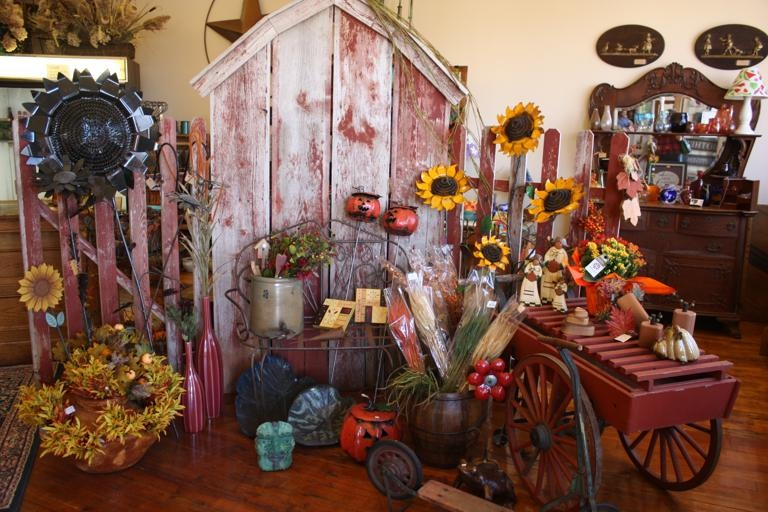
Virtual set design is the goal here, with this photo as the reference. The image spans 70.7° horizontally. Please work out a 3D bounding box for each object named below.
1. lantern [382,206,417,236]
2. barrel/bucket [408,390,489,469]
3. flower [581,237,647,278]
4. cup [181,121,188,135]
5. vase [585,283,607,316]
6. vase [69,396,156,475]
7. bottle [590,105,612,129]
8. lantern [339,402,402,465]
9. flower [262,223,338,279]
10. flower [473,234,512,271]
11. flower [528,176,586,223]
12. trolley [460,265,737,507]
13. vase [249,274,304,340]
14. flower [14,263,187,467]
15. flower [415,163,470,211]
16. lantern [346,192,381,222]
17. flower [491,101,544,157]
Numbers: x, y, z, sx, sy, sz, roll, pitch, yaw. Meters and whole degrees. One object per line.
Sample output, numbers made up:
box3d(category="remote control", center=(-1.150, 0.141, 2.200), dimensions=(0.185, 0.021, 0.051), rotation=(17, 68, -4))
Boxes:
box3d(category="lantern", center=(0.108, -0.213, 3.553), dimensions=(0.192, 0.160, 0.195), rotation=(-1, -5, 34))
box3d(category="barrel/bucket", center=(0.357, 0.954, 3.195), dimensions=(0.432, 0.408, 0.435), rotation=(1, 10, 0))
box3d(category="flower", center=(1.314, -0.013, 3.087), dimensions=(0.294, 0.174, 0.282), rotation=(-4, 13, -35))
box3d(category="cup", center=(-2.312, -1.493, 6.275), dimensions=(0.109, 0.169, 0.364), rotation=(-3, 9, -20))
box3d(category="vase", center=(1.205, 0.250, 3.074), dimensions=(0.132, 0.181, 0.115), rotation=(3, -8, -2))
box3d(category="vase", center=(-1.502, 0.972, 2.999), dimensions=(0.423, 0.306, 0.422), rotation=(1, -1, -29))
box3d(category="bottle", center=(2.337, -1.495, 5.813), dimensions=(0.280, 0.292, 0.149), rotation=(2, 1, 29))
box3d(category="lantern", center=(-0.087, 0.975, 3.062), dimensions=(0.318, 0.300, 0.323), rotation=(3, -9, -6))
box3d(category="flower", center=(-0.537, -0.021, 3.421), dimensions=(0.451, 0.351, 0.396), rotation=(0, 9, -7))
box3d(category="flower", center=(0.674, -0.028, 3.516), dimensions=(0.231, 0.234, 0.083), rotation=(5, -11, -1))
box3d(category="flower", center=(1.076, -0.355, 3.474), dimensions=(0.237, 0.305, 0.364), rotation=(-2, 9, -17))
box3d(category="trolley", center=(1.172, 0.786, 3.202), dimensions=(0.826, 0.832, 1.295), rotation=(-2, 10, -19))
box3d(category="vase", center=(-0.662, 0.280, 3.415), dimensions=(0.378, 0.420, 0.385), rotation=(1, 16, -5))
box3d(category="flower", center=(-1.655, 0.670, 3.158), dimensions=(0.929, 1.045, 0.910), rotation=(7, 10, -17))
box3d(category="flower", center=(0.393, -0.520, 3.602), dimensions=(0.311, 0.117, 0.311), rotation=(4, -4, -18))
box3d(category="lantern", center=(-0.141, -0.314, 3.551), dimensions=(0.189, 0.138, 0.192), rotation=(2, 3, 9))
box3d(category="flower", center=(0.854, -0.819, 3.503), dimensions=(0.204, 0.339, 0.341), rotation=(-7, 11, -40))
